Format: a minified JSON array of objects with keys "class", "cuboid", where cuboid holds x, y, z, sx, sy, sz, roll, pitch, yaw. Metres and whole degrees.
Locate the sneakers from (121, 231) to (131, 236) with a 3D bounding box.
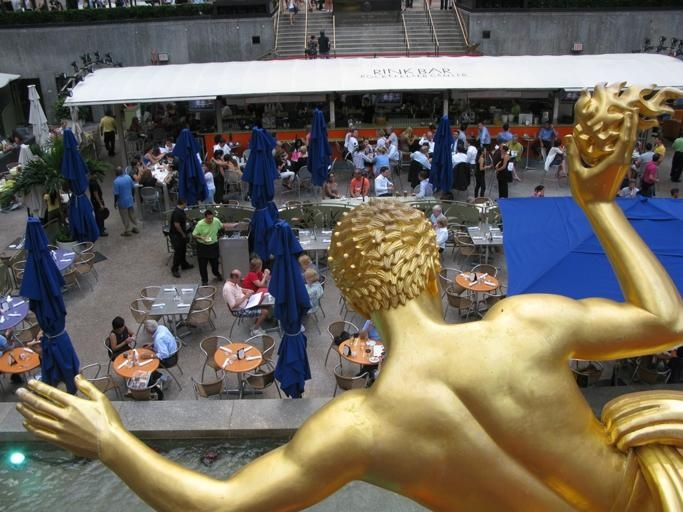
[{"class":"sneakers","cuboid":[-6.690,-0.690,17.698,0.374,0.148,0.123,3,49,13]}]
